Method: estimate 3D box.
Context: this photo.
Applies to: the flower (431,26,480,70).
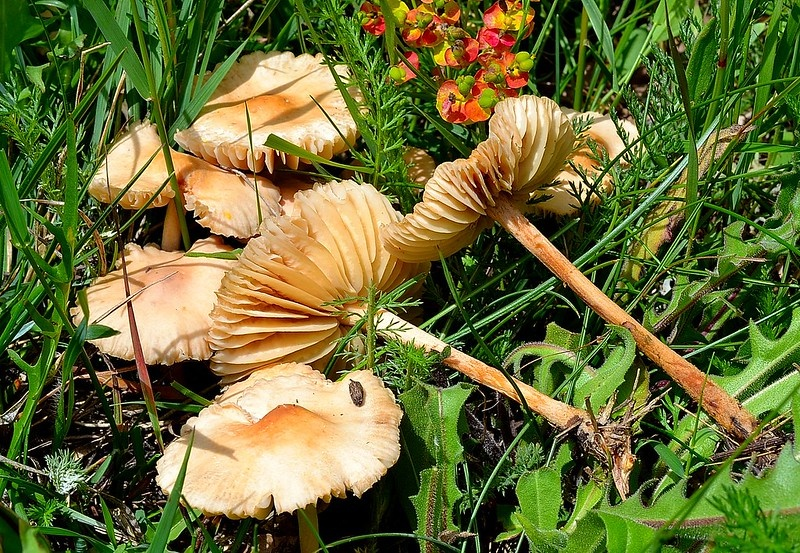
[{"bbox_3d":[0.203,-0.806,2.437,0.146,0.070,0.140,4,90,-23],"label":"flower"}]
